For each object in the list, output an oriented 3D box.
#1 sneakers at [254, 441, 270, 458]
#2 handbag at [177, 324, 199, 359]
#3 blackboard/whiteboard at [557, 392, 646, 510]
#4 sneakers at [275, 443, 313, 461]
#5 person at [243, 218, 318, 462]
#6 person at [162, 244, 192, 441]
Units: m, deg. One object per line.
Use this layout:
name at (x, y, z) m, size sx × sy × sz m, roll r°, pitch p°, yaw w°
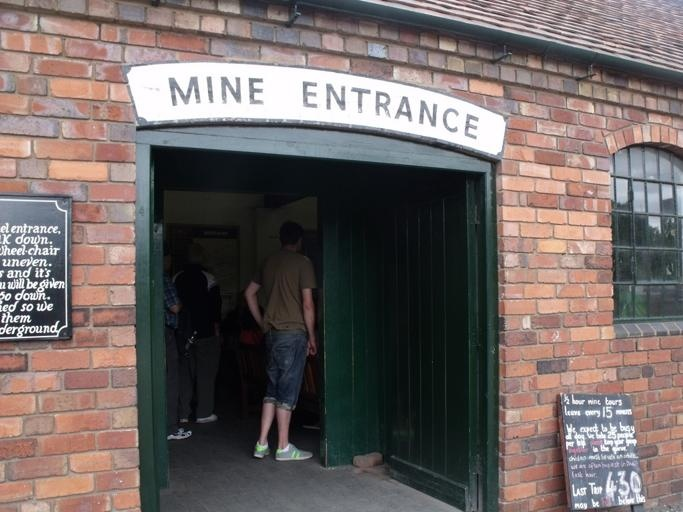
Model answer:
sneakers at (-0.779, 1.882, 6.334) m, size 0.091 × 0.098 × 0.221 m, roll 0°, pitch -12°, yaw 4°
handbag at (-1.701, 0.956, 7.261) m, size 0.232 × 0.329 × 0.113 m, roll 6°, pitch -2°, yaw -37°
blackboard/whiteboard at (2.044, 1.568, 5.226) m, size 0.937 × 1.156 × 0.148 m, roll 1°, pitch -11°, yaw -25°
sneakers at (-0.458, 1.885, 6.344) m, size 0.345 × 0.159 × 0.147 m, roll 1°, pitch -4°, yaw -22°
person at (-0.569, 0.819, 6.313) m, size 0.679 × 2.281 × 0.530 m, roll 0°, pitch 4°, yaw 33°
person at (-1.778, 0.934, 6.992) m, size 0.245 × 2.030 × 0.807 m, roll -3°, pitch 3°, yaw -15°
